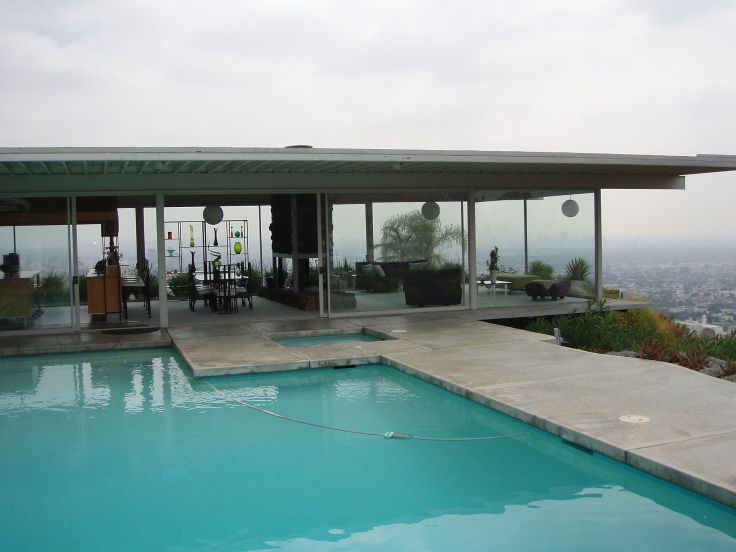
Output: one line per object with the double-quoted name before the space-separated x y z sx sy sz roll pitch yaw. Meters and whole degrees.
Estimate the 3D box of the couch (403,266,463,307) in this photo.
"couch" 1.368 0.348 13.039 1.402 0.814 0.727 -1 -7 -16

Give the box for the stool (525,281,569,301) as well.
"stool" 4.405 0.359 13.393 0.675 0.387 0.674 0 3 5

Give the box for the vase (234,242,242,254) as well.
"vase" -4.129 -0.873 17.145 0.349 0.370 0.337 -3 6 -33

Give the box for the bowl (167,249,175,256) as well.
"bowl" -6.109 -0.714 16.765 0.221 0.201 0.205 -1 1 0
